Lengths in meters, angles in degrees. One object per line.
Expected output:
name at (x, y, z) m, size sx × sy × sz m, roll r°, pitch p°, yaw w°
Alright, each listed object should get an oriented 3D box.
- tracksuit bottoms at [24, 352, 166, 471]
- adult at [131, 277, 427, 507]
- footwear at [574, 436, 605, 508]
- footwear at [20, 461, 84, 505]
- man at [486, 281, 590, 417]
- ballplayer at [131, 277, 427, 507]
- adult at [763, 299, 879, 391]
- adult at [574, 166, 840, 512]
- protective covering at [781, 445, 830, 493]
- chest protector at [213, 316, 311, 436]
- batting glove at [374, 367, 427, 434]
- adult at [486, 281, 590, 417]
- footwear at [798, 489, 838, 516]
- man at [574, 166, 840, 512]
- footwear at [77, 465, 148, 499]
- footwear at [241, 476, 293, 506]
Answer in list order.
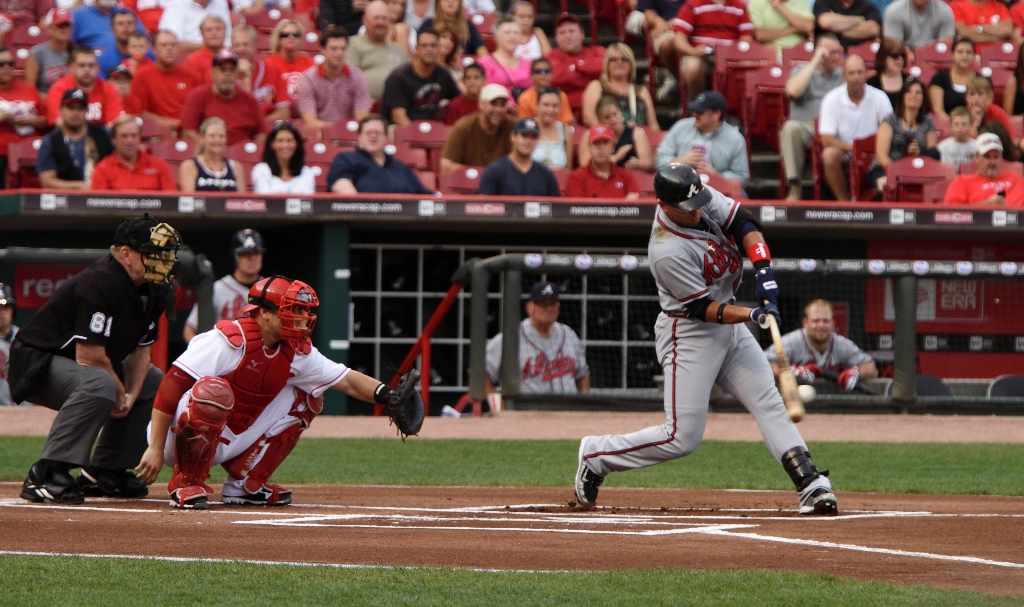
tracksuit bottoms at (-3.506, 1.045, 15.172) m, size 0.975 × 1.273 × 1.080 m, roll 7°, pitch -8°, yaw 9°
adult at (-1.881, 0.753, 14.572) m, size 2.295 × 1.768 × 1.453 m, roll 5°, pitch -4°, yaw -13°
footwear at (0.658, 1.390, 14.794) m, size 0.191 × 0.443 × 0.143 m, roll 33°, pitch 17°, yaw 22°
footwear at (-3.765, 1.454, 14.623) m, size 0.516 × 0.349 × 0.181 m, roll 7°, pitch 4°, yaw 18°
man at (0.271, 0.462, 18.375) m, size 1.078 × 1.302 × 0.460 m, roll -1°, pitch -2°, yaw -1°
ballplayer at (-1.840, 0.767, 14.572) m, size 2.242 × 1.755 × 1.447 m, roll 5°, pitch -4°, yaw -9°
adult at (3.189, 0.446, 18.481) m, size 1.216 × 0.885 × 0.700 m, roll 2°, pitch 1°, yaw -11°
adult at (1.583, 0.305, 14.588) m, size 2.021 × 2.842 × 0.637 m, roll -2°, pitch -2°, yaw 8°
protective covering at (2.376, 1.340, 14.488) m, size 0.390 × 0.345 × 0.186 m, roll -2°, pitch -2°, yaw 19°
chest protector at (-2.042, 0.564, 14.447) m, size 0.667 × 0.700 × 0.381 m, roll 36°, pitch 0°, yaw -36°
batting glove at (-0.831, 0.855, 14.794) m, size 0.301 × 0.580 × 0.347 m, roll 37°, pitch 20°, yaw -34°
adult at (0.271, 0.461, 18.374) m, size 1.078 × 1.302 × 0.461 m, roll -1°, pitch -2°, yaw -1°
footwear at (2.455, 1.610, 14.410) m, size 0.351 × 0.164 × 0.154 m, roll -1°, pitch 1°, yaw -27°
man at (1.577, 0.305, 14.583) m, size 2.018 × 2.842 × 0.639 m, roll -2°, pitch -2°, yaw 7°
footwear at (-3.343, 1.511, 15.138) m, size 0.663 × 0.308 × 0.256 m, roll 0°, pitch 4°, yaw -6°
footwear at (-2.027, 1.574, 14.791) m, size 0.344 × 0.161 × 0.175 m, roll 0°, pitch 2°, yaw -2°
